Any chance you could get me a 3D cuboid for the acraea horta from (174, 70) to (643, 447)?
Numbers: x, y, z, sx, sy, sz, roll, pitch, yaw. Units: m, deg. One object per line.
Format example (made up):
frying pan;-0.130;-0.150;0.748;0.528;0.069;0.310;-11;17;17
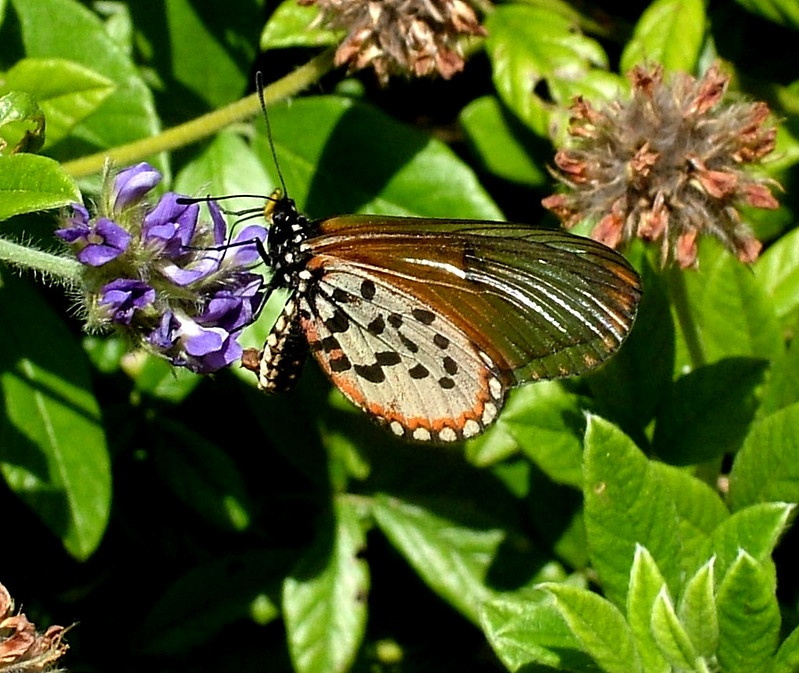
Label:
acraea horta;-0.032;-0.106;2.608;1.239;0.806;0.449;18;2;15
